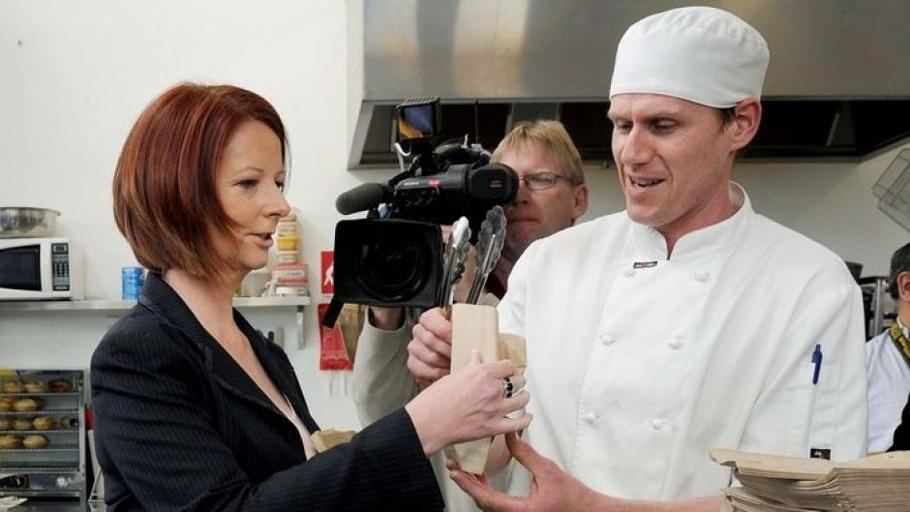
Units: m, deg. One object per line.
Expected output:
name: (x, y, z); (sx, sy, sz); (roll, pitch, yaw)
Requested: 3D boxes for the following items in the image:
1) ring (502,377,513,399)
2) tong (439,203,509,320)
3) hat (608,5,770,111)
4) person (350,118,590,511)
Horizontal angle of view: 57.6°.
ring: (0.143, 0.347, 2.198); (0.025, 0.032, 0.044); (-7, 9, 1)
tong: (0.070, -0.004, 2.307); (0.137, 0.360, 0.018); (13, 15, 21)
hat: (0.667, -0.562, 2.409); (0.363, 0.210, 0.330); (-1, 15, -21)
person: (0.084, 0.105, 2.830); (0.852, 1.259, 0.309); (5, 4, 29)
